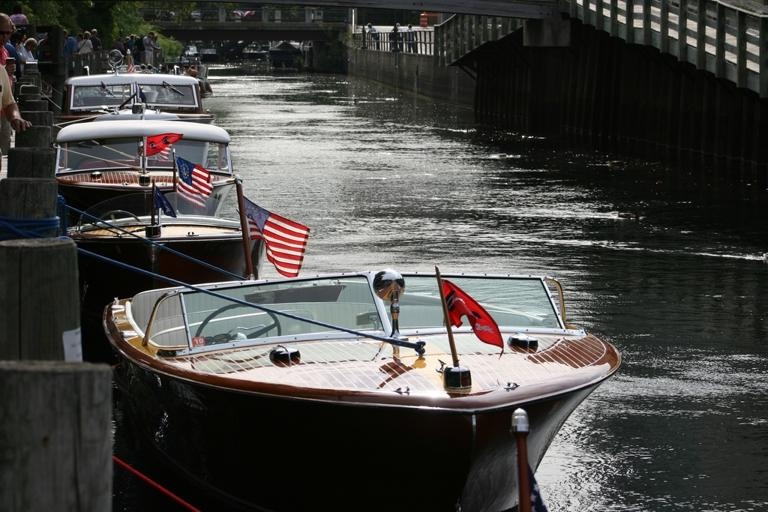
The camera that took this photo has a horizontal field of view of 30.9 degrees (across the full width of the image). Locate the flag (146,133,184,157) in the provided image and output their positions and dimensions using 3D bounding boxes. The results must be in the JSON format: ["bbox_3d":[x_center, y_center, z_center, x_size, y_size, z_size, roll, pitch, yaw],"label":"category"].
[{"bbox_3d":[-2.982,-1.500,18.659,0.597,0.156,0.479,3,42,11],"label":"flag"}]
